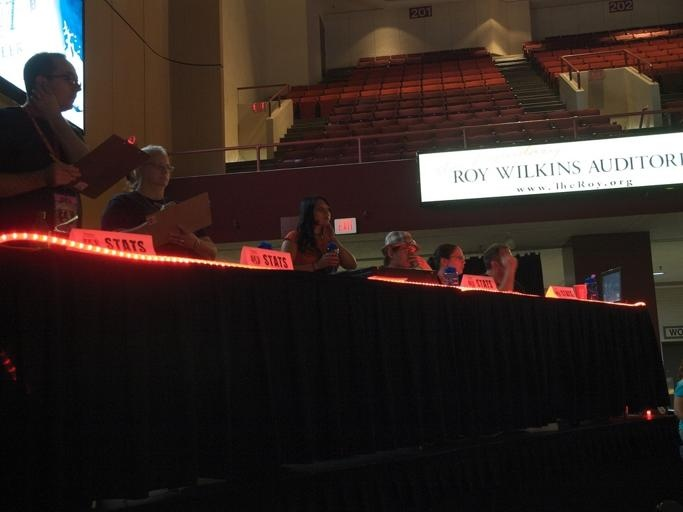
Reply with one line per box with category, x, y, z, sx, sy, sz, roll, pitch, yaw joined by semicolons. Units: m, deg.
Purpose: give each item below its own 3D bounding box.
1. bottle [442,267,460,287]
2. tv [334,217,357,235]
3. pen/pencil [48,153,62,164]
bottle;0.692;0.131;5.429;0.083;0.123;0.117;3;-9;-38
tv;0.057;-0.376;10.694;0.300;0.243;0.176;0;-16;0
pen/pencil;-1.444;-0.493;4.272;0.020;0.111;0.015;-28;-48;-13
